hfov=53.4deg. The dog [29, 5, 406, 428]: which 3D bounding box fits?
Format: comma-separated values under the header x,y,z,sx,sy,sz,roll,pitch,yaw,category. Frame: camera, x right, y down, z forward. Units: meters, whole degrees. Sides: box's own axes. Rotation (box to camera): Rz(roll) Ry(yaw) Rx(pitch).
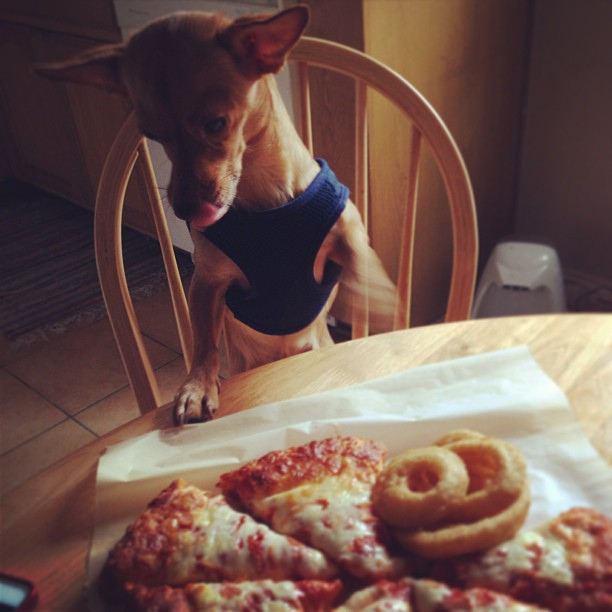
x,y,z,sx,sy,sz,roll,pitch,yaw,category
-0.029,-0.134,0.905,0.366,0.557,0.426,-16,30,-2,dog
